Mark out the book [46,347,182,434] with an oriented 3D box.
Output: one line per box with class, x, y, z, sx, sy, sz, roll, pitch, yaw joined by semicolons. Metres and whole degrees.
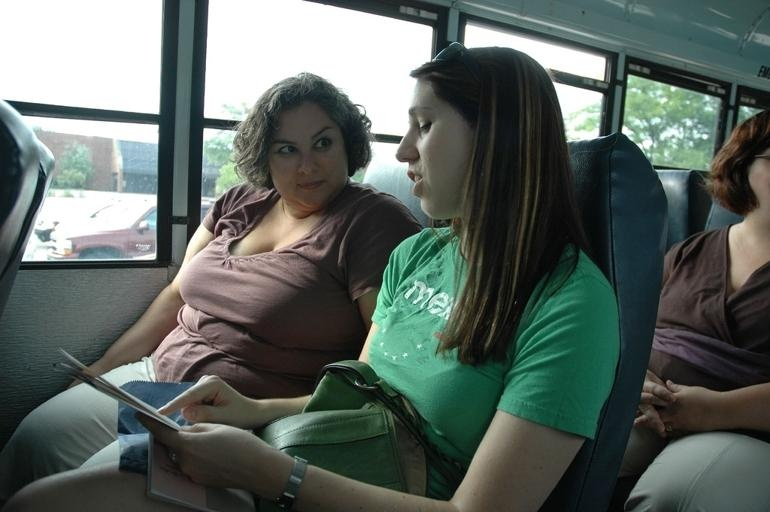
book;-0.993;0.506;2.379;0.594;0.065;0.540;34;-19;-17
